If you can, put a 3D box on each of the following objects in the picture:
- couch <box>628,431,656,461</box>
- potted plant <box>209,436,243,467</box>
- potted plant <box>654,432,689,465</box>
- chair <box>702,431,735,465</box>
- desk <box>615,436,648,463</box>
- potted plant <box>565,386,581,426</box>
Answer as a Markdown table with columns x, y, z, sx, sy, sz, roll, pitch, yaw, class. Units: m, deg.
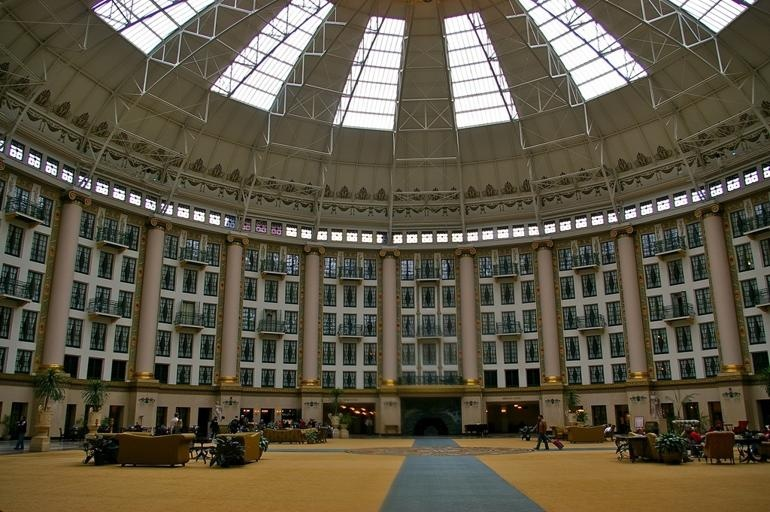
| x | y | z | sx | sy | sz | roll | pitch | yaw | class |
| --- | --- | --- | --- | --- | --- | --- | --- | --- | --- |
| 11.342 | 8.340 | 22.243 | 1.377 | 1.199 | 1.089 | 1 | -9 | 4 | couch |
| -6.650 | 8.163 | 21.329 | 1.278 | 0.880 | 1.238 | 5 | -18 | -14 | potted plant |
| 12.008 | 8.108 | 21.388 | 1.219 | 1.150 | 1.183 | 7 | -13 | -26 | potted plant |
| 14.229 | 8.047 | 21.504 | 1.153 | 1.246 | 0.983 | -6 | -22 | 13 | chair |
| 11.028 | 8.577 | 22.504 | 0.906 | 0.817 | 1.722 | 0 | -22 | 10 | desk |
| 17.258 | 13.543 | 46.405 | 1.333 | 3.243 | 1.939 | -14 | -25 | 29 | potted plant |
